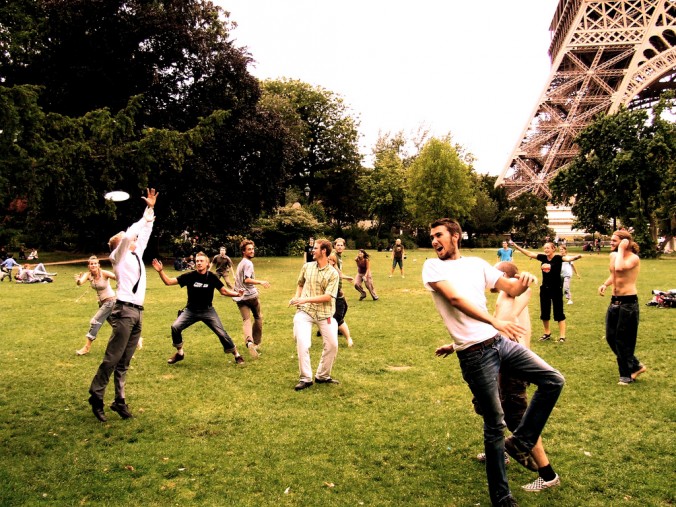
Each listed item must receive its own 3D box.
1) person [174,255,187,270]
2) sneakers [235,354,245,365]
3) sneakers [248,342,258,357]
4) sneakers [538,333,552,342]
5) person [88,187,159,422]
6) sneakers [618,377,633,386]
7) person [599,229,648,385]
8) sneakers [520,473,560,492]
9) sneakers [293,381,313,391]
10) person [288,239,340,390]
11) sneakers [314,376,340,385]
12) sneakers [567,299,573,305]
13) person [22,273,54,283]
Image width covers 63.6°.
[{"bbox_3d":[-8.763,0.542,30.081,0.706,0.874,0.920,7,9,16],"label":"person"},{"bbox_3d":[-2.100,2.249,11.565,0.111,0.117,0.287,2,0,4],"label":"sneakers"},{"bbox_3d":[-1.863,2.105,11.959,0.265,0.339,0.284,1,1,-10],"label":"sneakers"},{"bbox_3d":[5.067,2.049,13.275,0.389,0.145,0.128,-6,-6,-21],"label":"sneakers"},{"bbox_3d":[-3.690,0.970,9.368,0.613,3.597,1.080,1,1,12],"label":"person"},{"bbox_3d":[5.484,2.435,10.378,0.329,0.143,0.115,2,-9,14],"label":"sneakers"},{"bbox_3d":[5.678,1.015,10.735,0.672,2.946,1.009,2,1,26],"label":"person"},{"bbox_3d":[2.858,3.230,7.718,0.583,0.229,0.204,-3,-14,-2],"label":"sneakers"},{"bbox_3d":[-0.635,2.470,10.309,0.422,0.175,0.119,0,1,-44],"label":"sneakers"},{"bbox_3d":[-0.459,1.137,10.416,0.817,2.840,0.993,2,1,33],"label":"person"},{"bbox_3d":[-0.220,2.467,10.538,0.467,0.176,0.154,1,-3,-4],"label":"sneakers"},{"bbox_3d":[7.631,1.597,17.858,0.103,0.199,0.299,-5,13,17],"label":"sneakers"},{"bbox_3d":[-12.859,1.084,23.339,0.539,0.291,0.743,6,1,41],"label":"person"}]
